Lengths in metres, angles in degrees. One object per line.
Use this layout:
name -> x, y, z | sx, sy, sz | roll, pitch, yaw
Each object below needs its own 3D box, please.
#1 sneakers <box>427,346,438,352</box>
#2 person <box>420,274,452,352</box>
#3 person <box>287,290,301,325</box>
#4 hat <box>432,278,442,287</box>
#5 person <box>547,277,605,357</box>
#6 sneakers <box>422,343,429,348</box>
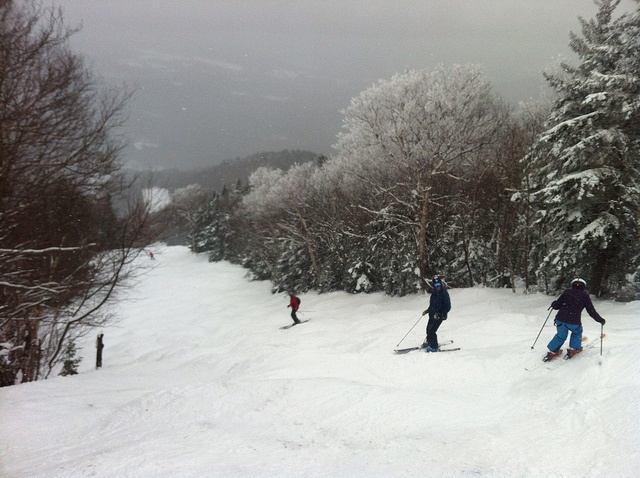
sneakers -> 3.558, 3.460, 17.543 | 0.398, 0.087, 0.249 | -9, 3, 15
person -> 3.703, 2.344, 17.821 | 0.977, 1.593, 1.276 | -7, 4, 18
person -> -1.116, 3.265, 26.050 | 0.458, 1.241, 1.166 | -8, 3, -4
hat -> 3.721, 1.416, 17.568 | 0.188, 0.295, 0.273 | -1, -9, 16
person -> 7.220, 2.262, 15.715 | 1.290, 2.552, 1.061 | 11, 22, 25
sneakers -> 3.391, 3.417, 17.819 | 0.154, 0.101, 0.168 | 0, -11, 14
